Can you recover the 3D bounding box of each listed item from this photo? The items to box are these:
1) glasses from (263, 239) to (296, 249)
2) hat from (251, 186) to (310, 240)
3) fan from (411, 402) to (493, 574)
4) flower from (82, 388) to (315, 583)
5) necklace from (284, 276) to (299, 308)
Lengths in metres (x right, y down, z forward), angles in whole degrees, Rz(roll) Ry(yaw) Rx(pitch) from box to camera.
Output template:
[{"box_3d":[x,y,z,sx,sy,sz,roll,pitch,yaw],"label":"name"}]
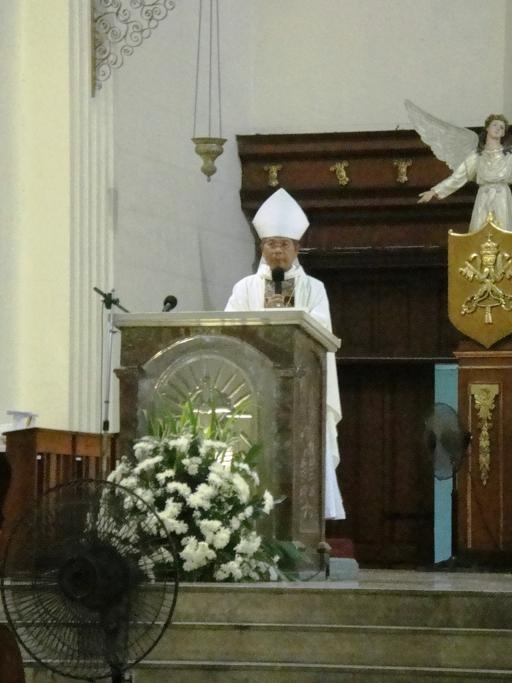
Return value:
[{"box_3d":[0.134,-0.555,11.690,0.178,0.057,0.131,1,-11,0],"label":"glasses"},{"box_3d":[0.159,-0.737,11.752,0.247,0.304,0.109,3,5,10],"label":"hat"},{"box_3d":[1.178,0.846,13.040,0.239,0.948,0.395,-6,-12,34],"label":"fan"},{"box_3d":[-0.194,0.729,9.662,0.894,1.197,0.822,-8,-18,27],"label":"flower"},{"box_3d":[0.192,-0.293,11.723,0.105,0.153,0.059,-3,-8,3],"label":"necklace"}]
